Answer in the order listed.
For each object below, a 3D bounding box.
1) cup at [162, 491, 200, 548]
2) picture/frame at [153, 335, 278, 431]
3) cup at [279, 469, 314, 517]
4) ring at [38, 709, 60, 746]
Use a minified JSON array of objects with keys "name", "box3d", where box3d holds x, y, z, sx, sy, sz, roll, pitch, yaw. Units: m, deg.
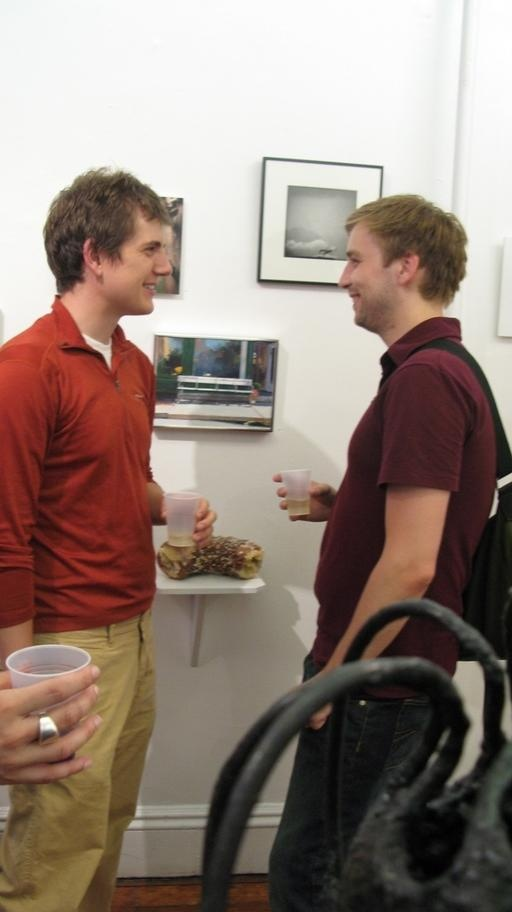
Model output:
[{"name":"cup","box3d":[-0.174,0.148,1.701,0.109,0.127,0.112,-2,11,0]},{"name":"picture/frame","box3d":[-0.130,-0.216,2.005,0.266,0.209,0.030,1,9,-5]},{"name":"cup","box3d":[0.116,0.090,1.778,0.095,0.143,0.101,-5,7,1]},{"name":"ring","box3d":[-0.184,0.244,0.628,0.021,0.026,0.026,0,13,-15]}]
